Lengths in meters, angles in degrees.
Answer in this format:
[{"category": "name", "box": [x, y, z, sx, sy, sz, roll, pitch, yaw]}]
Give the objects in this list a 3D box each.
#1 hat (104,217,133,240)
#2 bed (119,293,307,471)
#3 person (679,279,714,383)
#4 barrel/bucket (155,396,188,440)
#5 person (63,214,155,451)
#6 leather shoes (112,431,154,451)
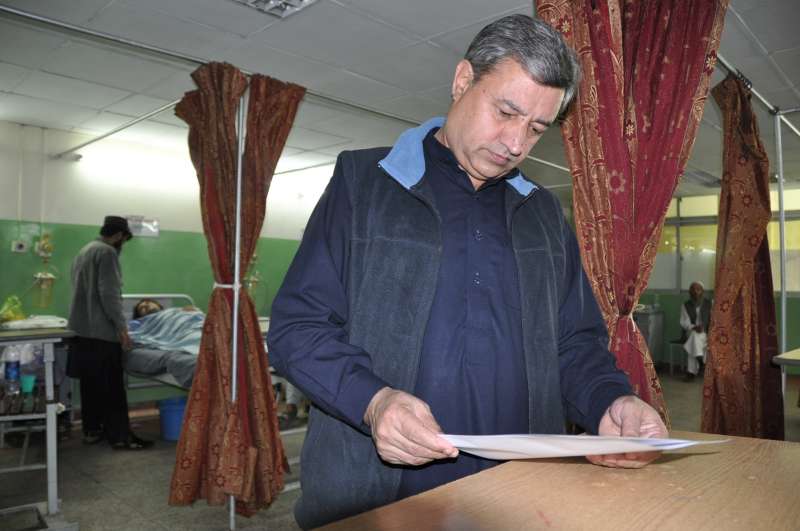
[{"category": "hat", "box": [-2.978, -0.414, 6.031, 0.261, 0.152, 0.287, 3, -12, -13]}, {"category": "bed", "box": [-2.722, 1.174, 6.664, 1.433, 1.063, 2.536, 3, 1, -44]}, {"category": "person", "box": [4.939, 1.085, 9.488, 0.463, 1.601, 0.443, -5, -8, 25]}, {"category": "barrel/bucket", "box": [-2.451, 1.663, 6.120, 0.258, 0.440, 0.296, 2, -8, -24]}, {"category": "person", "box": [-3.000, 0.672, 5.802, 0.685, 2.407, 0.604, -1, -7, 1]}, {"category": "leather shoes", "box": [-2.738, 1.813, 5.900, 0.391, 0.164, 0.176, 0, -5, -5]}]
